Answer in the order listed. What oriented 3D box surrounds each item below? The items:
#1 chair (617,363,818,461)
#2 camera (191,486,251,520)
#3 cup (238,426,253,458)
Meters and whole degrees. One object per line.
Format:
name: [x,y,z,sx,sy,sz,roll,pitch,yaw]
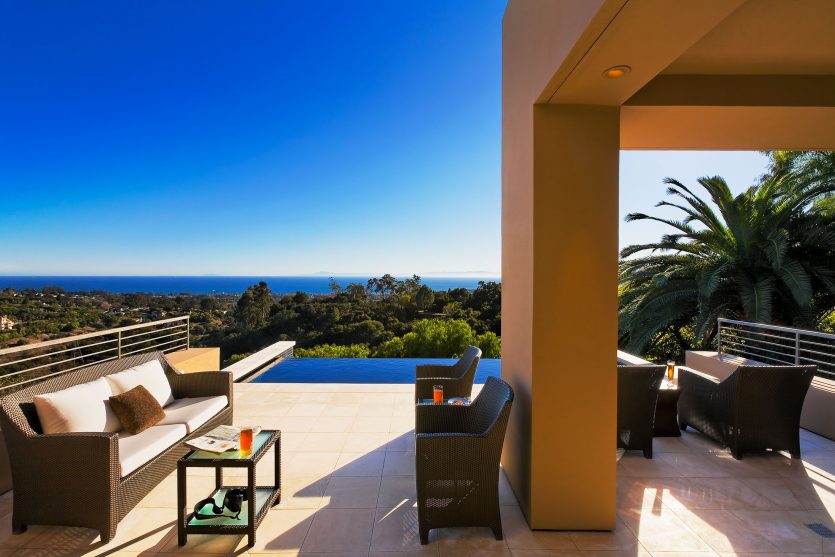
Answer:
chair: [4.032,1.604,6.630,1.329,1.048,1.873,1,-7,-6]
camera: [-1.994,2.311,4.978,0.443,0.172,0.265,5,-9,-31]
cup: [-1.736,1.640,4.947,0.156,0.224,0.186,-5,14,-21]
